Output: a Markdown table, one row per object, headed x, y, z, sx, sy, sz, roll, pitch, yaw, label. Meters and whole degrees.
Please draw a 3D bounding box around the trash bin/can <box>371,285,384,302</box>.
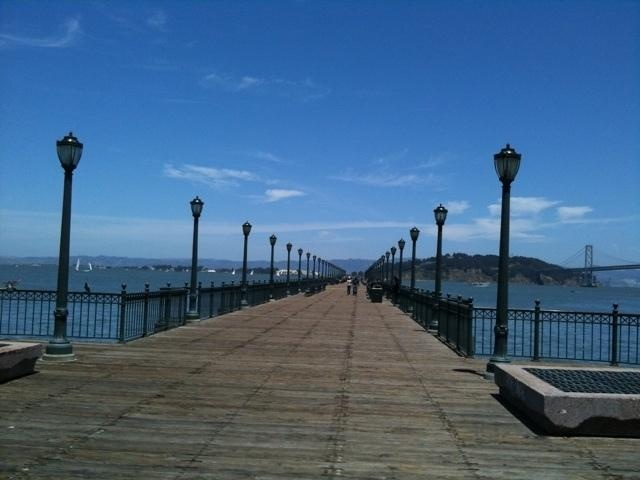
| x | y | z | sx | sy | sz | roll | pitch | yaw | label |
| --- | --- | --- | --- | --- | --- | --- | --- | --- | --- |
| 3.885 | 3.841 | 39.541 | 0.695 | 1.020 | 1.543 | -2 | -2 | 0 | trash bin/can |
